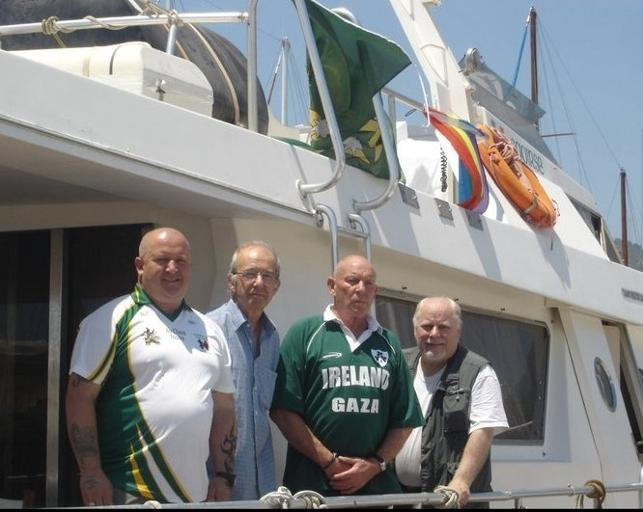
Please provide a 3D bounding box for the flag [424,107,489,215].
[{"bbox_3d":[1.012,-0.644,6.663,0.364,0.128,1.175,-2,-30,15],"label":"flag"}]

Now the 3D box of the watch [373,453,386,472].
[{"bbox_3d":[0.294,1.015,4.734,0.052,0.083,0.082,-20,18,-32],"label":"watch"}]

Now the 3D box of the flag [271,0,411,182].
[{"bbox_3d":[0.162,-0.920,5.430,0.581,0.773,0.617,2,-15,-7],"label":"flag"}]

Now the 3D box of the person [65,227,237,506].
[{"bbox_3d":[-0.781,0.508,4.448,0.753,1.255,0.339,1,-14,-3],"label":"person"}]

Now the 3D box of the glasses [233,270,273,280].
[{"bbox_3d":[-0.332,0.097,4.700,0.204,0.048,0.057,-1,-15,1],"label":"glasses"}]

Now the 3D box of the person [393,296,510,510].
[{"bbox_3d":[0.682,0.816,5.162,0.613,1.262,0.653,-14,-31,26],"label":"person"}]

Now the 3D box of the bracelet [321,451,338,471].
[{"bbox_3d":[0.041,1.000,4.663,0.072,0.076,0.040,-4,-14,13],"label":"bracelet"}]

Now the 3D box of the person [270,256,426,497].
[{"bbox_3d":[0.129,0.966,4.827,0.747,1.927,0.637,4,-12,-8],"label":"person"}]

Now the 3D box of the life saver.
[{"bbox_3d":[1.438,-0.527,6.986,0.217,0.683,0.726,-25,-53,27],"label":"life saver"}]

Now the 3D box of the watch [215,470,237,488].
[{"bbox_3d":[-0.448,1.026,4.462,0.077,0.048,0.065,24,2,6],"label":"watch"}]
